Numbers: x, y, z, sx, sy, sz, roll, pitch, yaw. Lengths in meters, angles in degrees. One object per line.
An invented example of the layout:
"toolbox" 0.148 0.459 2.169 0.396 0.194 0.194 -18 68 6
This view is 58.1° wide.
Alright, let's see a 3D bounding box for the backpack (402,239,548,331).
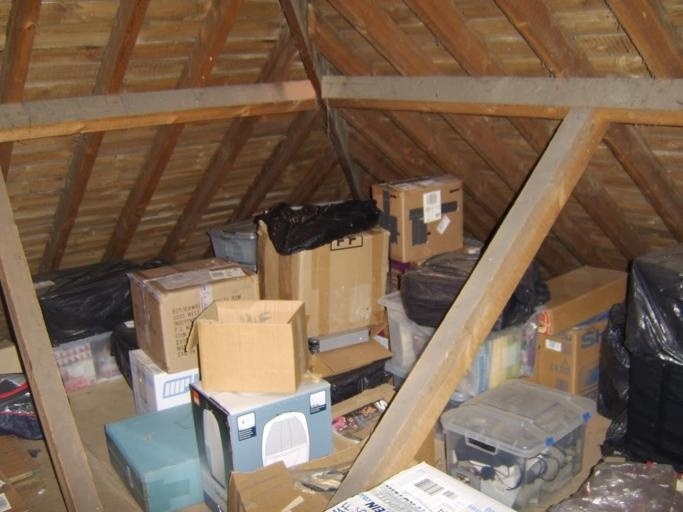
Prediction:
"backpack" 0.762 0.191 3.762 0.646 0.204 0.557 -2 17 0
